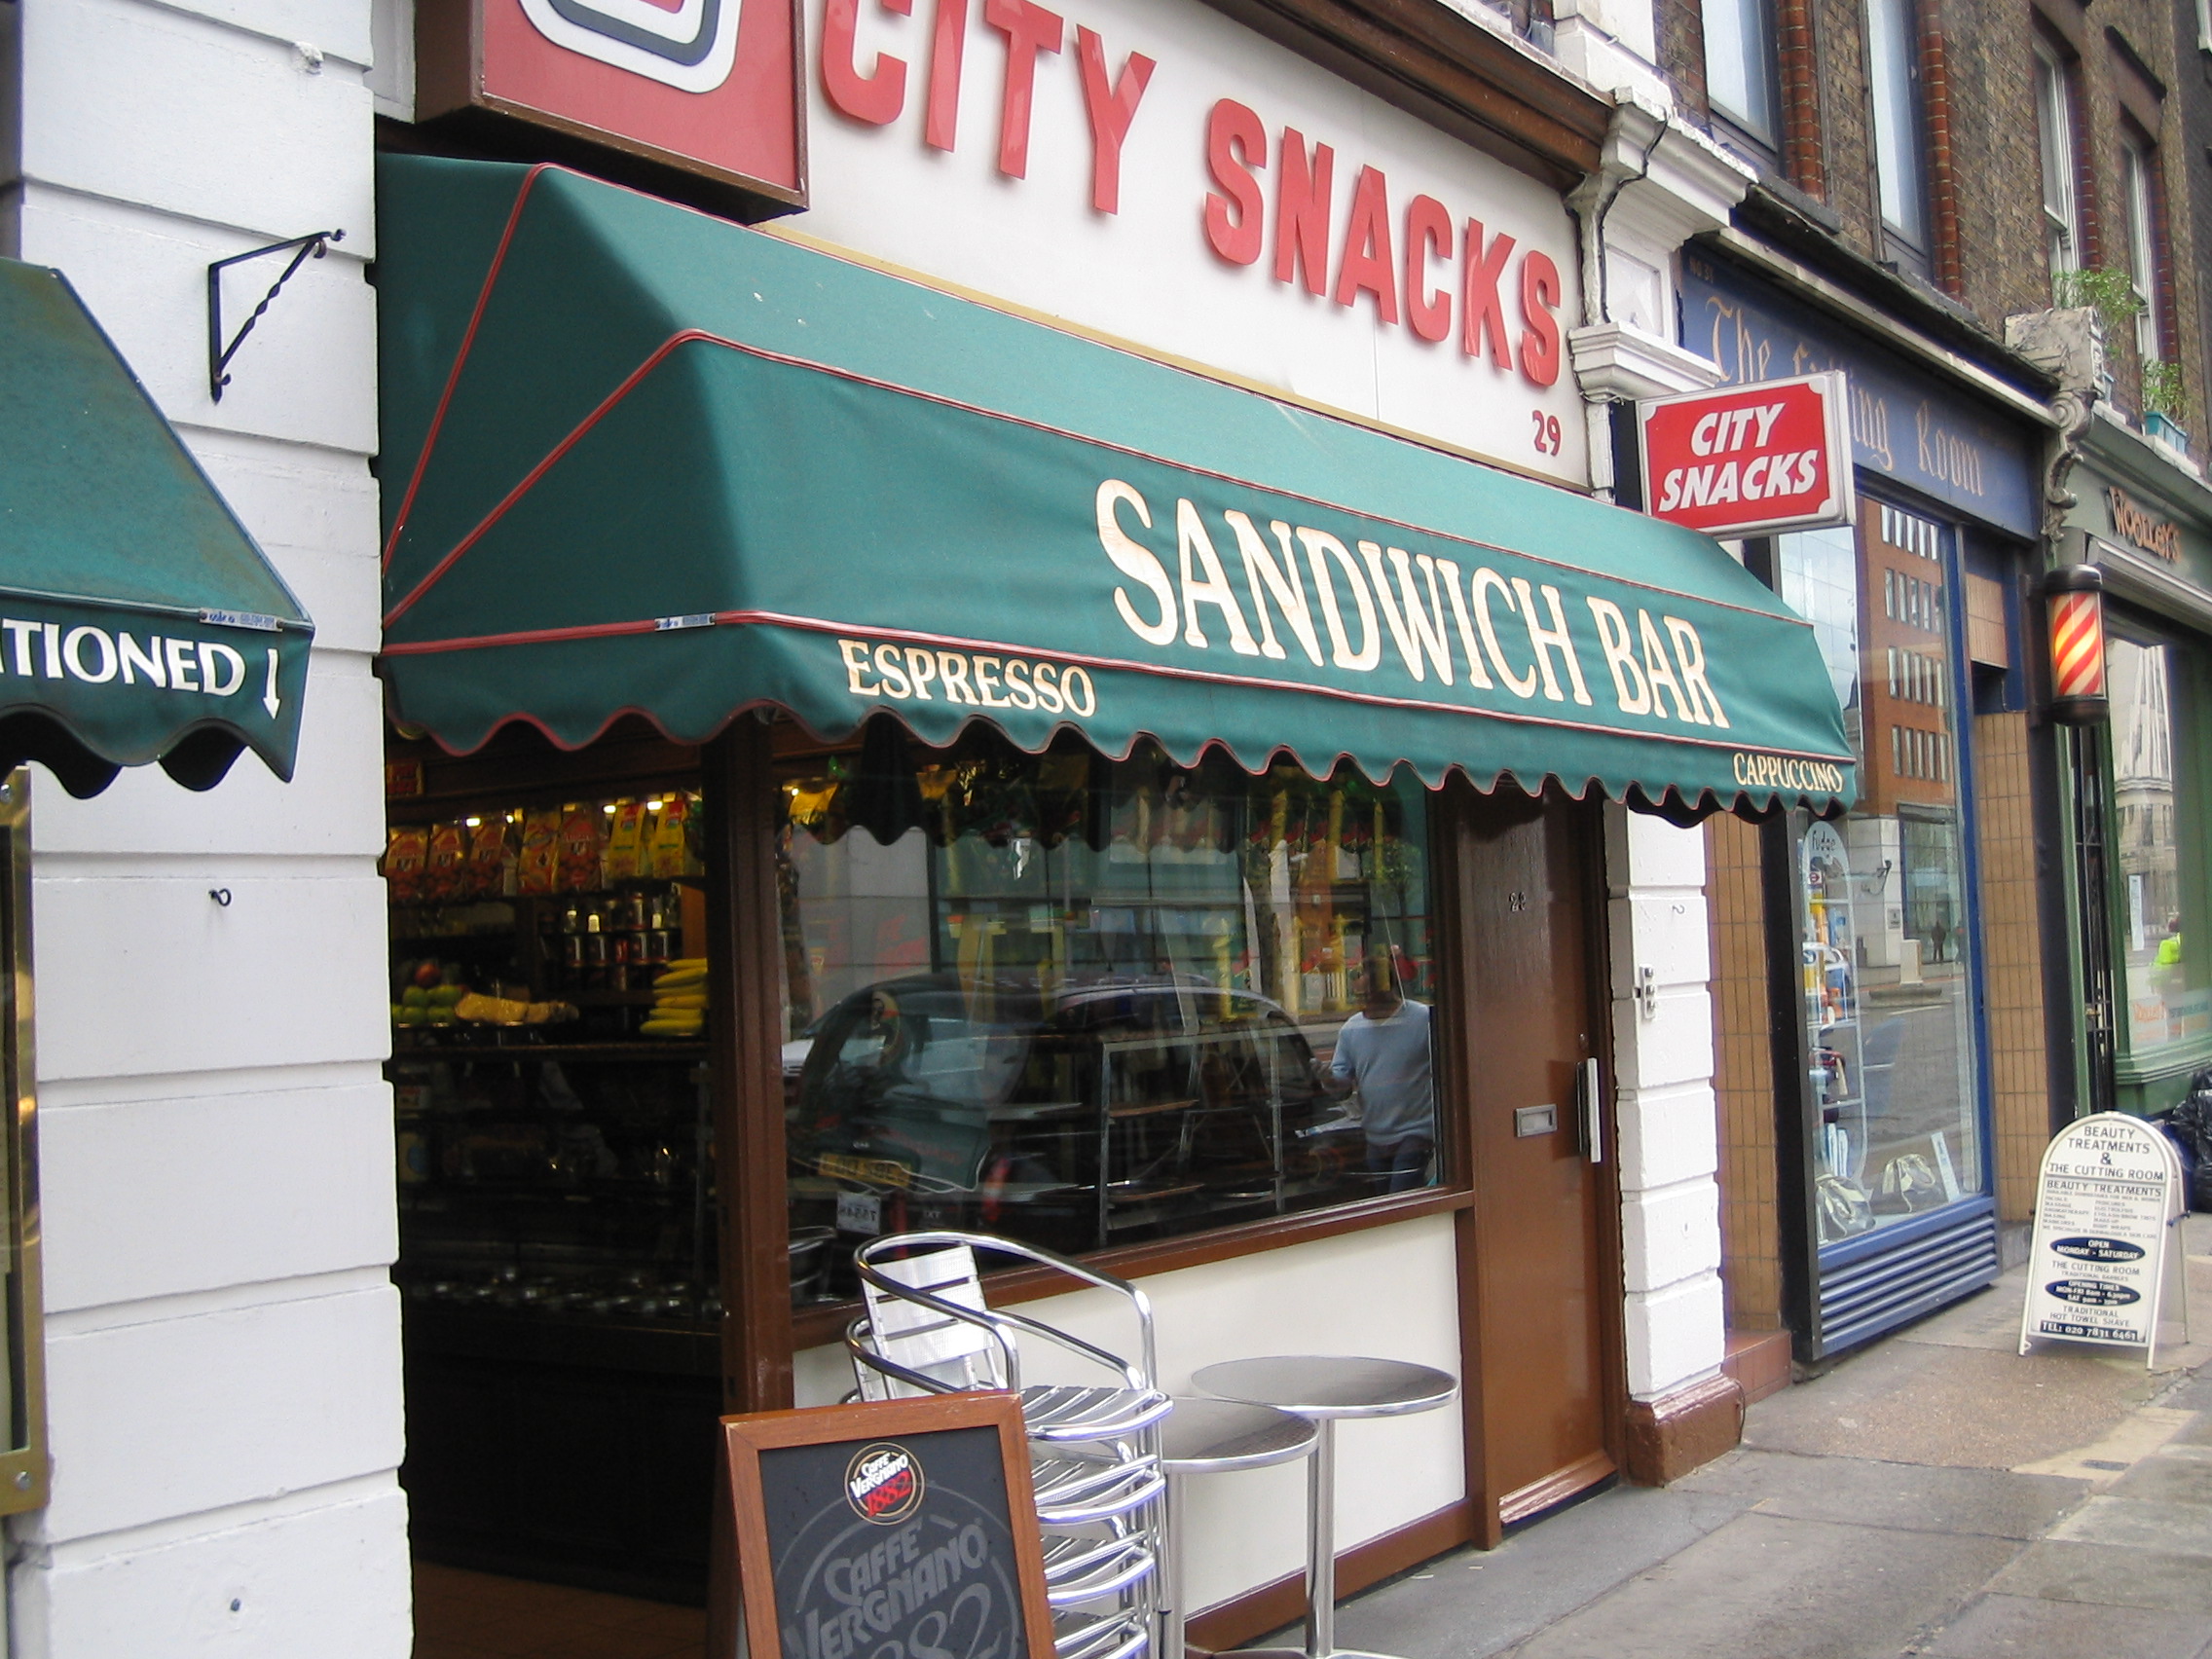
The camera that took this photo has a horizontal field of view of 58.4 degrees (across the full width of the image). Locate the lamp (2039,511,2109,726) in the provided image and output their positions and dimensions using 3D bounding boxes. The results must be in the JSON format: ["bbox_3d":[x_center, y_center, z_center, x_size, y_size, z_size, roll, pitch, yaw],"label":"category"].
[{"bbox_3d":[6.343,-1.361,12.953,0.358,1.337,0.563,-2,-2,26],"label":"lamp"}]

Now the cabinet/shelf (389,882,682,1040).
[{"bbox_3d":[-2.029,0.458,6.960,0.442,0.530,1.954,0,-2,-39],"label":"cabinet/shelf"}]

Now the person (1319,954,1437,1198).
[{"bbox_3d":[1.042,1.055,7.312,0.452,1.169,0.327,1,21,24],"label":"person"}]
